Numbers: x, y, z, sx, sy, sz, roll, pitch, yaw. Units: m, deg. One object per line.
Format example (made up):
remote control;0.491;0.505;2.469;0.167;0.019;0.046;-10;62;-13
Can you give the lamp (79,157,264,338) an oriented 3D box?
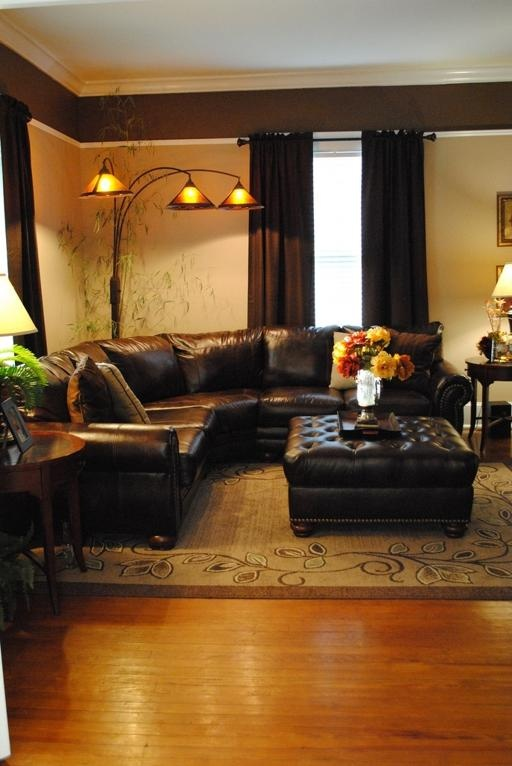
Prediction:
lamp;-0.689;-1.069;4.777;1.177;1.463;1.518;-3;8;-15

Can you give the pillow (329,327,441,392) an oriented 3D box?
pillow;0.822;-0.129;3.891;0.492;0.336;0.169;0;-2;4

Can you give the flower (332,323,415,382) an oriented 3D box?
flower;0.629;-0.160;3.279;0.344;0.293;0.349;21;24;24

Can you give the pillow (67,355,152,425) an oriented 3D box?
pillow;-0.748;0.067;3.130;0.377;0.359;0.129;13;35;39
